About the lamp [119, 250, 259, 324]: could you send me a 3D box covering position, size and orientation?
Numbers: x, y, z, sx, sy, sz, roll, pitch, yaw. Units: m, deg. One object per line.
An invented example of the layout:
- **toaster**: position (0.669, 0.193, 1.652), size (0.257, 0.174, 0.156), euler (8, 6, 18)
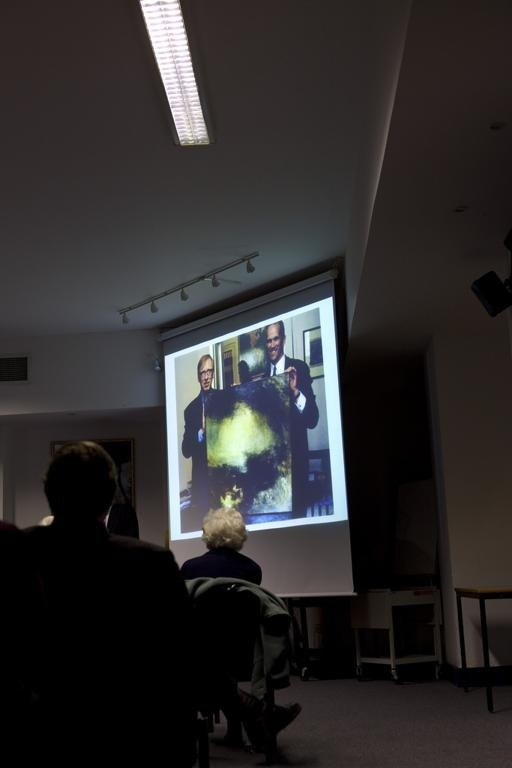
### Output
- **lamp**: position (-0.673, -0.875, 5.653), size (1.962, 0.199, 0.333), euler (-15, -20, 38)
